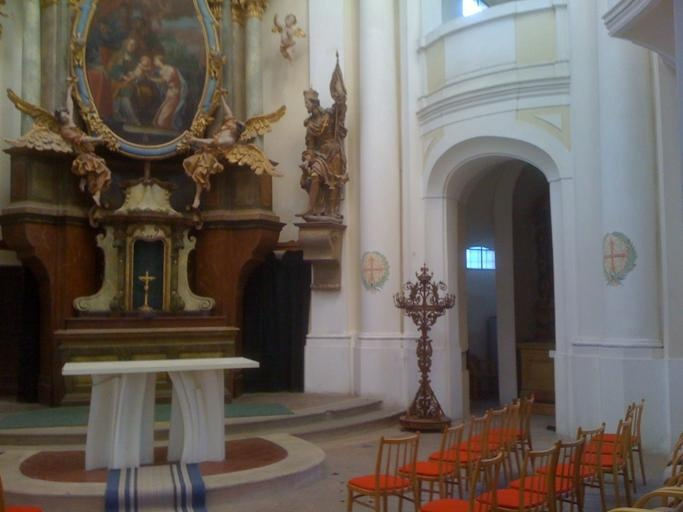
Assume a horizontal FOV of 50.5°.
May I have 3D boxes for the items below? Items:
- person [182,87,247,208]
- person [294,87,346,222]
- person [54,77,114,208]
[{"bbox_3d":[-2.126,-1.830,12.167,1.014,2.017,0.762,-1,-7,-9],"label":"person"},{"bbox_3d":[-0.314,-1.685,12.204,0.836,2.174,0.649,-2,-7,-3],"label":"person"},{"bbox_3d":[-4.190,-1.847,11.687,0.848,1.999,0.612,1,-7,-25],"label":"person"}]
